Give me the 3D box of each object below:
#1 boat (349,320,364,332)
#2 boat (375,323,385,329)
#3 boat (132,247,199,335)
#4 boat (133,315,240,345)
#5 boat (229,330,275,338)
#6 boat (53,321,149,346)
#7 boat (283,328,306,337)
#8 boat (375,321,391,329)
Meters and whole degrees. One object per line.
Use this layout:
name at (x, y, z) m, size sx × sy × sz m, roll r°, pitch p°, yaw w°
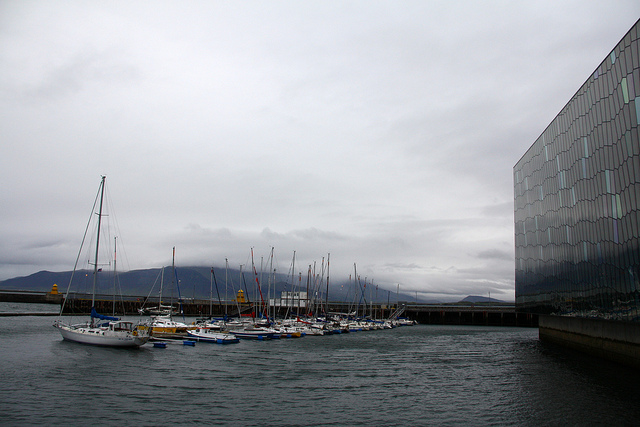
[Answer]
boat at (9.426, 29.881, 138.296) m, size 2.434 × 2.037 × 6.680 m, roll -2°, pitch -7°, yaw 26°
boat at (17.397, 32.394, 151.040) m, size 0.548 × 1.566 × 5.173 m, roll -2°, pitch -7°, yaw 28°
boat at (-28.117, 15.588, 102.323) m, size 15.344 × 16.090 × 3.975 m, roll 0°, pitch -17°, yaw 17°
boat at (-25.706, 22.181, 99.530) m, size 18.047 × 4.310 × 5.349 m, roll 7°, pitch -9°, yaw -14°
boat at (-13.311, 24.307, 105.945) m, size 8.326 × 1.747 × 2.791 m, roll 4°, pitch -13°, yaw -2°
boat at (-34.380, 18.927, 83.997) m, size 14.800 × 3.868 × 3.188 m, roll -2°, pitch -6°, yaw 26°
boat at (-6.077, 25.858, 113.626) m, size 4.740 × 1.542 × 1.489 m, roll 6°, pitch -7°, yaw -38°
boat at (18.985, 32.954, 155.907) m, size 1.553 × 2.189 × 3.748 m, roll -1°, pitch -3°, yaw 38°
